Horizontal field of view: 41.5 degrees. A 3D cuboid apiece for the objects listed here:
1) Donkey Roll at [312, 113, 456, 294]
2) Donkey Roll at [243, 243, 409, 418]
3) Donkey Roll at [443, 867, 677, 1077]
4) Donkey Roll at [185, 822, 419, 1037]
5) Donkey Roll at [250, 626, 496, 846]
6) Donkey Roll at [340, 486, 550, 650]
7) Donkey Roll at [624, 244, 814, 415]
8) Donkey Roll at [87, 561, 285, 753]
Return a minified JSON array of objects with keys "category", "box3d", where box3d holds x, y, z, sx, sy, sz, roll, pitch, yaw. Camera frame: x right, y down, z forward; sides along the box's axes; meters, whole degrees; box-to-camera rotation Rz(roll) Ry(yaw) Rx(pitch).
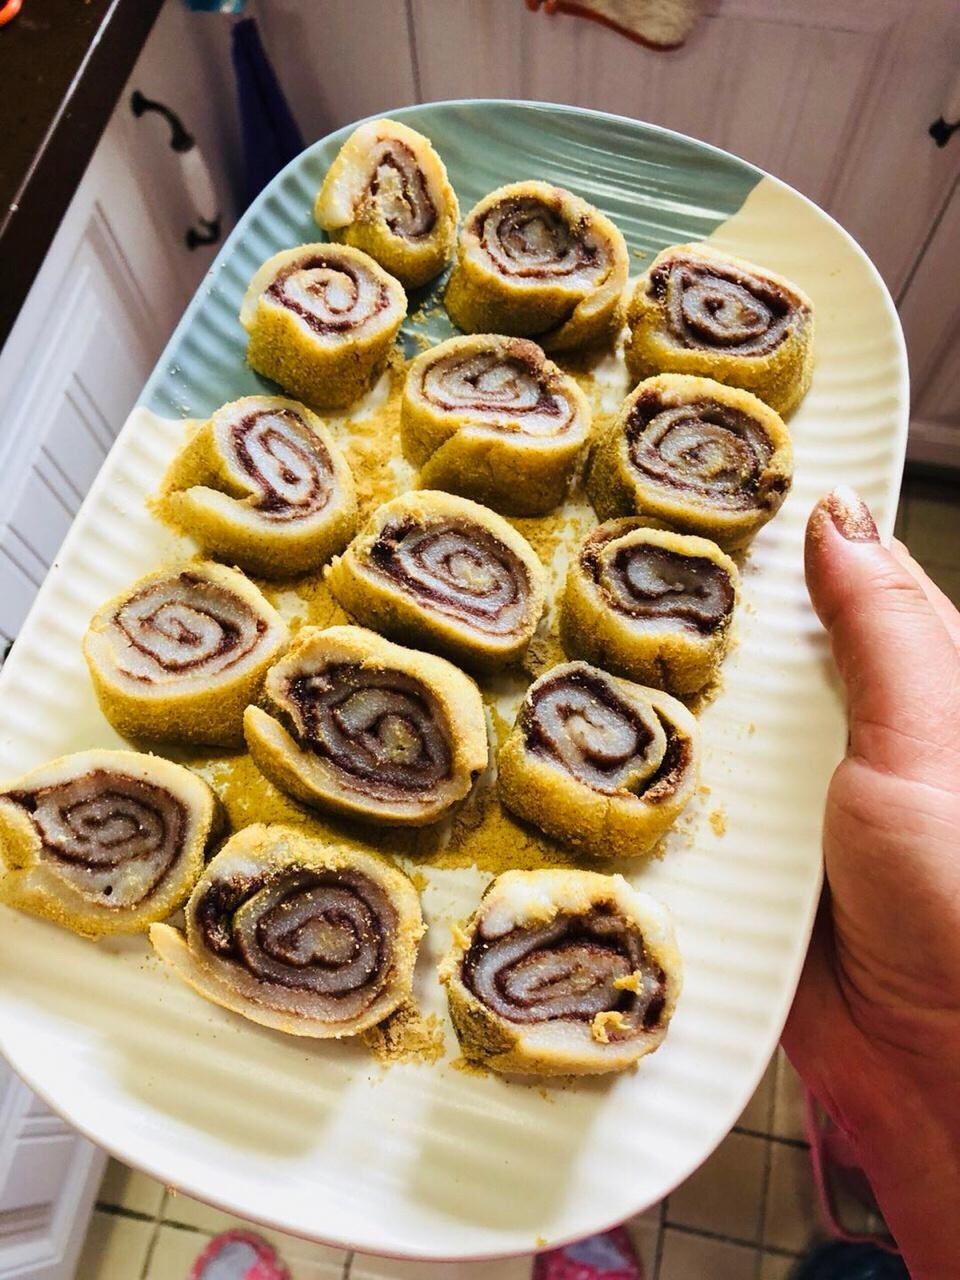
[{"category":"Donkey Roll","box3d":[-0.145,-0.719,2.061,0.231,0.100,0.253,4,71,-12]},{"category":"Donkey Roll","box3d":[-0.253,-0.507,2.020,0.235,0.145,0.253,11,59,-19]},{"category":"Donkey Roll","box3d":[0.102,0.413,1.572,0.287,0.094,0.243,8,62,6]},{"category":"Donkey Roll","box3d":[-0.220,0.377,1.615,0.295,0.105,0.240,17,64,11]},{"category":"Donkey Roll","box3d":[-0.134,0.110,1.727,0.357,0.108,0.253,9,87,22]},{"category":"Donkey Roll","box3d":[-0.050,-0.088,1.791,0.300,0.096,0.196,17,60,1]},{"category":"Donkey Roll","box3d":[0.363,-0.487,1.946,0.233,0.103,0.282,-26,64,-7]},{"category":"Donkey Roll","box3d":[-0.420,0.017,1.790,0.287,0.092,0.254,31,56,15]}]
